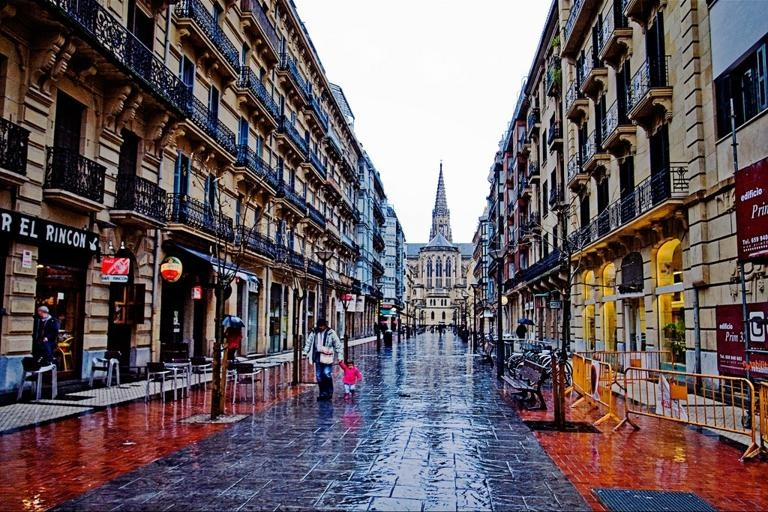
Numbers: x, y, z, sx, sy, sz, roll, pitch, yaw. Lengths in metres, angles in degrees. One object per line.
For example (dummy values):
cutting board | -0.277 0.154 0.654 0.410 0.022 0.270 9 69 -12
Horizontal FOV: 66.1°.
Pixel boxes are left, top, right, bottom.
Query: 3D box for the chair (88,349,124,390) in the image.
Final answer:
chair | -9.362 3.726 19.645 0.874 1.177 1.717 5 -15 -26

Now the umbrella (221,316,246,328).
umbrella | -5.910 2.553 23.265 0.831 0.333 0.888 1 -10 6

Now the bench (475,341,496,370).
bench | 5.472 5.282 31.660 0.740 0.993 2.178 1 -8 1

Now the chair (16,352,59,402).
chair | -9.980 3.361 16.984 0.823 1.268 0.850 -4 9 -35

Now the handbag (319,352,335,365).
handbag | -1.767 3.113 18.136 0.456 0.589 0.303 0 -7 -2
